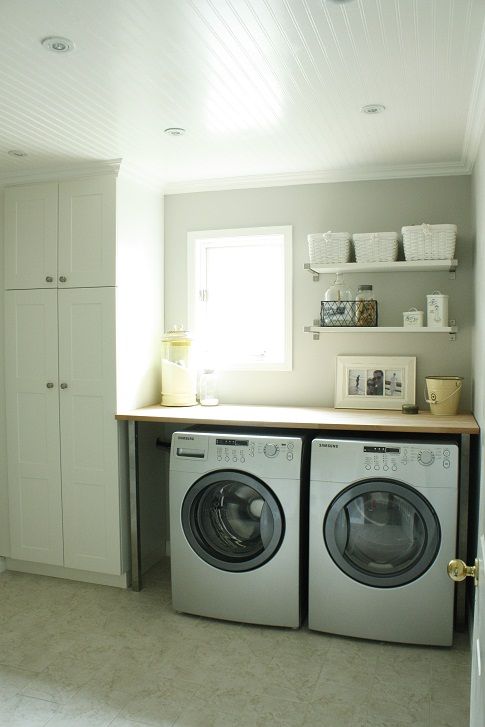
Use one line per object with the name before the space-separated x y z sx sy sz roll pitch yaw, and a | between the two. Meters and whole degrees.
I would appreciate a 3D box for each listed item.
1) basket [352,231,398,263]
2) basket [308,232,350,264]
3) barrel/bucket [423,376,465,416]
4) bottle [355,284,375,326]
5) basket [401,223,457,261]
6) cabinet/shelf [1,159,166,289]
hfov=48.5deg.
basket | 0.682 -0.576 2.780 0.153 0.139 0.205 0 2 14
basket | 0.462 -0.596 2.881 0.190 0.158 0.167 1 4 25
barrel/bucket | 0.995 0.151 2.663 0.181 0.176 0.173 -1 8 0
bottle | 0.666 -0.305 2.899 0.114 0.222 0.179 -1 -1 16
basket | 0.924 -0.582 2.676 0.223 0.171 0.183 2 6 28
cabinet/shelf | -0.854 -0.701 3.092 1.000 0.961 0.511 2 4 20
